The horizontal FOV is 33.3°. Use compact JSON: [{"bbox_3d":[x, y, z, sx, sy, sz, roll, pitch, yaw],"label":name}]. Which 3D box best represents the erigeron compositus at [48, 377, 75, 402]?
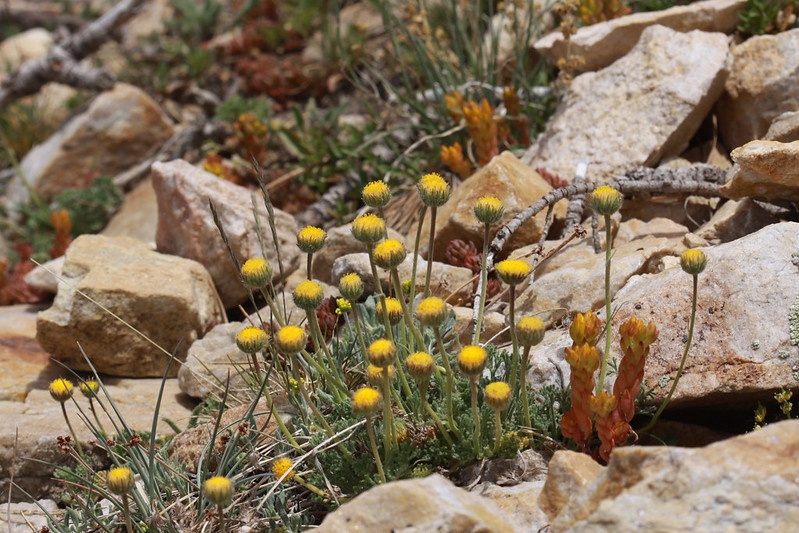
[{"bbox_3d":[-2.447,0.884,9.631,0.172,0.190,0.211,1,94,-14],"label":"erigeron compositus"}]

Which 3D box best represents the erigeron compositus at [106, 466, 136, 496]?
[{"bbox_3d":[-1.908,1.461,9.190,0.190,0.201,0.231,-7,83,-20],"label":"erigeron compositus"}]

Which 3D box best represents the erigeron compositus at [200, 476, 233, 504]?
[{"bbox_3d":[-1.216,1.493,8.908,0.160,0.180,0.202,-1,99,-19],"label":"erigeron compositus"}]

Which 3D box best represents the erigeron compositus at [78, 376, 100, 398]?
[{"bbox_3d":[-2.253,0.878,9.712,0.144,0.161,0.180,0,91,-1],"label":"erigeron compositus"}]
